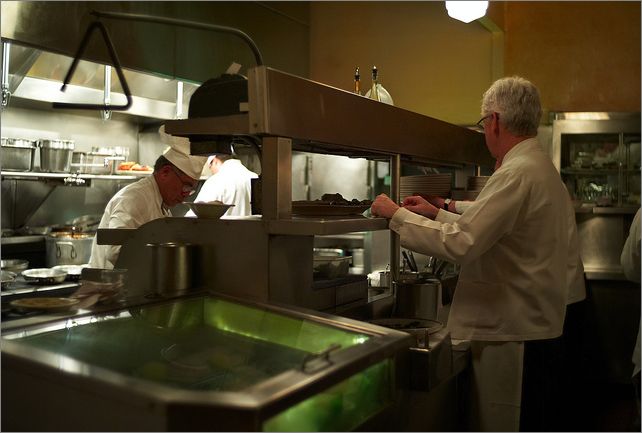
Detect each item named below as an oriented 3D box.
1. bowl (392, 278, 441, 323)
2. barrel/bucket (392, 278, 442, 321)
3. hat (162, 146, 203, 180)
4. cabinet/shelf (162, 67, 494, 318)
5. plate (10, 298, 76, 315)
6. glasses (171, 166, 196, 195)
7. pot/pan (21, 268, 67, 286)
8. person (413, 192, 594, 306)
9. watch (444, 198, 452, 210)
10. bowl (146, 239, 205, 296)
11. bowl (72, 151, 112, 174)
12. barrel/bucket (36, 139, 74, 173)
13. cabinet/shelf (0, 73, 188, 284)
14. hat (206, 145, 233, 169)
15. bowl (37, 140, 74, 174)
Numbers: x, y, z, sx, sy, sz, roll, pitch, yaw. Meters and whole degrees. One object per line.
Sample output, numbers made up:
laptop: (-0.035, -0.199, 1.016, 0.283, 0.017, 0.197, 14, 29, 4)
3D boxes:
bowl: (0.535, 0.449, 2.871, 0.218, 0.247, 0.238, 1, -5, 0)
barrel/bucket: (0.542, 0.445, 2.883, 0.218, 0.247, 0.238, 1, -5, 0)
hat: (-0.858, -0.349, 3.315, 0.240, 0.135, 0.182, 32, 21, -7)
cabinet/shelf: (0.201, -0.160, 2.976, 0.627, 1.059, 1.829, 2, 3, 37)
plate: (-1.210, 0.380, 2.226, 0.334, 0.037, 0.166, 1, 3, 11)
glasses: (-0.911, -0.229, 3.378, 0.044, 0.155, 0.148, -22, -10, 15)
pot/pan: (-2.034, 0.443, 3.810, 0.292, 0.103, 0.152, -1, 3, -30)
person: (1.321, 0.270, 3.348, 0.629, 0.858, 1.213, 0, 0, 18)
watch: (0.797, -0.087, 3.240, 0.043, 0.075, 0.075, 3, -2, 22)
bowl: (-0.755, 0.261, 2.567, 0.253, 0.282, 0.278, 3, 5, 0)
bowl: (-2.083, -0.485, 4.688, 0.162, 0.116, 0.263, 2, 1, 17)
barrel/bucket: (-2.227, -0.504, 4.369, 0.280, 0.257, 0.264, 3, 4, 0)
cabinet/shelf: (-1.857, -0.329, 4.050, 0.504, 1.604, 1.644, -4, -5, 31)
hat: (-0.699, -0.407, 3.590, 0.184, 0.096, 0.243, -17, -1, -33)
bowl: (-2.225, -0.494, 4.356, 0.273, 0.250, 0.264, 3, 4, 0)
